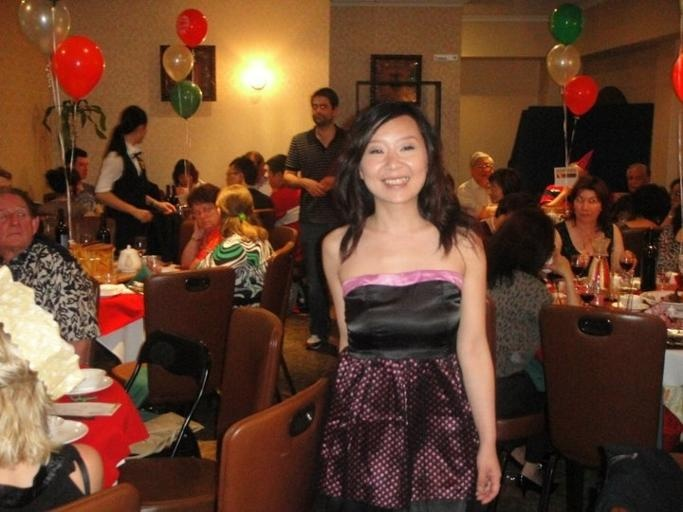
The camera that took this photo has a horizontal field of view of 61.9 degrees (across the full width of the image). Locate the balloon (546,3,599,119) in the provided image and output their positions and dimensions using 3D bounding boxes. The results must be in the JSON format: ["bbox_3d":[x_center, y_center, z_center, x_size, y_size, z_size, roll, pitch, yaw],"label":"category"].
[{"bbox_3d":[2.342,-2.006,5.805,0.454,1.160,0.732,1,8,19],"label":"balloon"}]

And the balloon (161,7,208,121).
[{"bbox_3d":[-1.608,-2.031,5.854,0.386,1.321,0.400,3,16,2],"label":"balloon"}]

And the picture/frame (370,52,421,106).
[{"bbox_3d":[0.765,-2.418,7.964,0.731,0.854,0.079,2,46,5],"label":"picture/frame"}]

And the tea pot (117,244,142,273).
[{"bbox_3d":[-1.422,0.015,3.881,0.157,0.183,0.162,2,12,0],"label":"tea pot"}]

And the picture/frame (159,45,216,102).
[{"bbox_3d":[-1.811,-2.163,6.800,0.643,0.663,0.062,-7,35,-25],"label":"picture/frame"}]

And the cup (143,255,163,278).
[{"bbox_3d":[-1.224,0.070,3.691,0.104,0.117,0.106,-1,11,0],"label":"cup"}]
